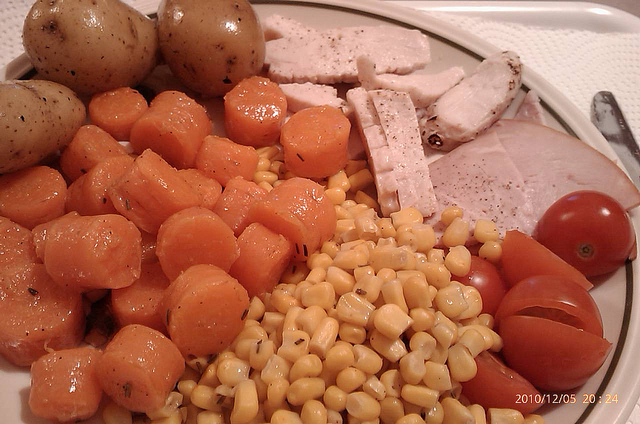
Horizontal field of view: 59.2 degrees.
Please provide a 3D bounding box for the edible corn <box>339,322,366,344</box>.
[{"bbox_3d":[0.161,0.576,2.687,0.105,0.055,0.086,12,101,11],"label":"edible corn"}]

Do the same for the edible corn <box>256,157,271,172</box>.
[{"bbox_3d":[-0.317,-0.271,3.214,0.066,0.039,0.071,5,40,8],"label":"edible corn"}]

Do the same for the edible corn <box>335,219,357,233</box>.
[{"bbox_3d":[0.141,0.072,3.037,0.129,0.082,0.078,-1,88,-3],"label":"edible corn"}]

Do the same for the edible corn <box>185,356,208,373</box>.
[{"bbox_3d":[-0.575,0.711,2.675,0.071,0.022,0.078,-14,107,5],"label":"edible corn"}]

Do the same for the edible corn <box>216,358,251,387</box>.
[{"bbox_3d":[-0.402,0.751,2.644,0.151,0.057,0.164,6,28,-30],"label":"edible corn"}]

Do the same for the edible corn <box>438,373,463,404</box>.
[{"bbox_3d":[0.619,0.829,2.673,0.119,0.045,0.122,8,90,-25],"label":"edible corn"}]

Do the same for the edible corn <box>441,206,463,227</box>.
[{"bbox_3d":[0.713,0.019,3.074,0.105,0.080,0.091,-2,87,-30],"label":"edible corn"}]

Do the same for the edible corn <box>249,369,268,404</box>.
[{"bbox_3d":[-0.285,0.814,2.678,0.056,0.118,0.117,-36,31,9],"label":"edible corn"}]

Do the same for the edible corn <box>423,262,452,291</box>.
[{"bbox_3d":[0.590,0.310,2.829,0.100,0.072,0.138,-33,65,-11],"label":"edible corn"}]

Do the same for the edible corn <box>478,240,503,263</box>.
[{"bbox_3d":[0.903,0.208,2.992,0.099,0.114,0.107,-13,46,1],"label":"edible corn"}]

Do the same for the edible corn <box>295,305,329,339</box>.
[{"bbox_3d":[-0.039,0.535,2.768,0.125,0.117,0.134,29,57,12],"label":"edible corn"}]

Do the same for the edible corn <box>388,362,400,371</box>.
[{"bbox_3d":[0.358,0.735,2.691,0.037,0.011,0.039,-28,37,15],"label":"edible corn"}]

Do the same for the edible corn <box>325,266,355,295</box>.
[{"bbox_3d":[0.099,0.340,2.864,0.147,0.067,0.113,42,41,11],"label":"edible corn"}]

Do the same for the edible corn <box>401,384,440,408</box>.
[{"bbox_3d":[0.457,0.834,2.573,0.150,0.057,0.092,15,101,8],"label":"edible corn"}]

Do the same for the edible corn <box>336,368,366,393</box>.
[{"bbox_3d":[0.146,0.761,2.588,0.117,0.076,0.093,-13,45,-16],"label":"edible corn"}]

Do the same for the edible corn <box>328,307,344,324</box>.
[{"bbox_3d":[0.076,0.497,2.750,0.023,0.073,0.071,-38,69,-22],"label":"edible corn"}]

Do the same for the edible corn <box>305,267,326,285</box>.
[{"bbox_3d":[-0.019,0.314,2.882,0.061,0.071,0.091,31,50,17],"label":"edible corn"}]

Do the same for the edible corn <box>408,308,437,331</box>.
[{"bbox_3d":[0.491,0.505,2.667,0.101,0.059,0.109,11,64,16],"label":"edible corn"}]

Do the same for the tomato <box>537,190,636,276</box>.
[{"bbox_3d":[1.385,0.095,2.961,0.418,0.356,0.447,-6,90,13],"label":"tomato"}]

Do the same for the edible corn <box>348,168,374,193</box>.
[{"bbox_3d":[0.227,-0.197,3.249,0.140,0.109,0.116,-24,108,-13],"label":"edible corn"}]

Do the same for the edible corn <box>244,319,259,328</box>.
[{"bbox_3d":[-0.336,0.541,2.767,0.038,0.023,0.039,14,26,32],"label":"edible corn"}]

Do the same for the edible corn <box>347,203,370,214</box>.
[{"bbox_3d":[0.208,-0.025,3.117,0.096,0.052,0.031,-11,98,-45],"label":"edible corn"}]

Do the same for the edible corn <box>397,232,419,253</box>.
[{"bbox_3d":[0.469,0.150,2.986,0.094,0.090,0.100,26,69,-26],"label":"edible corn"}]

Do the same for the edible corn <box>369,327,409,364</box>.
[{"bbox_3d":[0.323,0.622,2.651,0.178,0.053,0.110,43,86,14],"label":"edible corn"}]

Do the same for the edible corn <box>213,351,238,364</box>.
[{"bbox_3d":[-0.455,0.685,2.697,0.063,0.061,0.067,-36,83,27],"label":"edible corn"}]

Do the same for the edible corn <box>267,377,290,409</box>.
[{"bbox_3d":[-0.205,0.842,2.613,0.117,0.098,0.102,11,83,32],"label":"edible corn"}]

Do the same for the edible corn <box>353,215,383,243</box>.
[{"bbox_3d":[0.246,0.091,2.986,0.125,0.056,0.175,-5,35,-28],"label":"edible corn"}]

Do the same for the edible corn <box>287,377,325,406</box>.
[{"bbox_3d":[-0.062,0.815,2.592,0.177,0.092,0.108,-13,72,-8],"label":"edible corn"}]

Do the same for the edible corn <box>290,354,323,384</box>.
[{"bbox_3d":[-0.047,0.723,2.658,0.125,0.180,0.115,2,102,-17],"label":"edible corn"}]

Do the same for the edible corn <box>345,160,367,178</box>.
[{"bbox_3d":[0.212,-0.255,3.296,0.113,0.044,0.074,-30,100,-11],"label":"edible corn"}]

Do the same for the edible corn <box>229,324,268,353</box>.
[{"bbox_3d":[-0.338,0.585,2.690,0.143,0.065,0.129,-24,61,-7],"label":"edible corn"}]

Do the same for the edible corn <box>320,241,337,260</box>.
[{"bbox_3d":[0.057,0.196,3.028,0.081,0.078,0.091,-42,85,4],"label":"edible corn"}]
